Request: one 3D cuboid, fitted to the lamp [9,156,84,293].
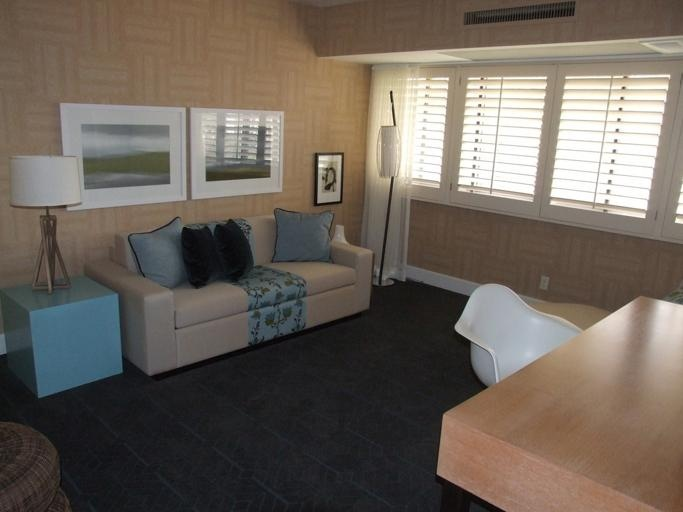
[{"bbox_3d":[-1.942,-0.208,3.165,0.398,0.908,0.417,10,14,29],"label":"lamp"}]

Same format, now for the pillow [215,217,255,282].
[{"bbox_3d":[-0.865,-0.037,3.860,0.187,0.388,0.428,3,13,15],"label":"pillow"}]

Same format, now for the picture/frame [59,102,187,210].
[{"bbox_3d":[-1.711,-0.787,3.673,0.836,0.761,0.038,-10,17,-43],"label":"picture/frame"}]

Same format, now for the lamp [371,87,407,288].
[{"bbox_3d":[0.505,-0.729,5.194,0.264,2.057,0.490,3,16,6],"label":"lamp"}]

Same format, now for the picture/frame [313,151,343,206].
[{"bbox_3d":[-0.140,-0.843,5.229,0.049,0.565,0.437,16,21,42],"label":"picture/frame"}]

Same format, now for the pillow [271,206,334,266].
[{"bbox_3d":[-0.346,-0.193,4.435,0.525,0.544,0.203,1,19,-9],"label":"pillow"}]

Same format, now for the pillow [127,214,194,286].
[{"bbox_3d":[-1.437,0.039,3.639,0.236,0.466,0.499,-6,11,-9],"label":"pillow"}]

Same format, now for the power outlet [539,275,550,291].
[{"bbox_3d":[1.946,0.249,4.571,0.020,0.190,0.104,-12,19,-40],"label":"power outlet"}]
